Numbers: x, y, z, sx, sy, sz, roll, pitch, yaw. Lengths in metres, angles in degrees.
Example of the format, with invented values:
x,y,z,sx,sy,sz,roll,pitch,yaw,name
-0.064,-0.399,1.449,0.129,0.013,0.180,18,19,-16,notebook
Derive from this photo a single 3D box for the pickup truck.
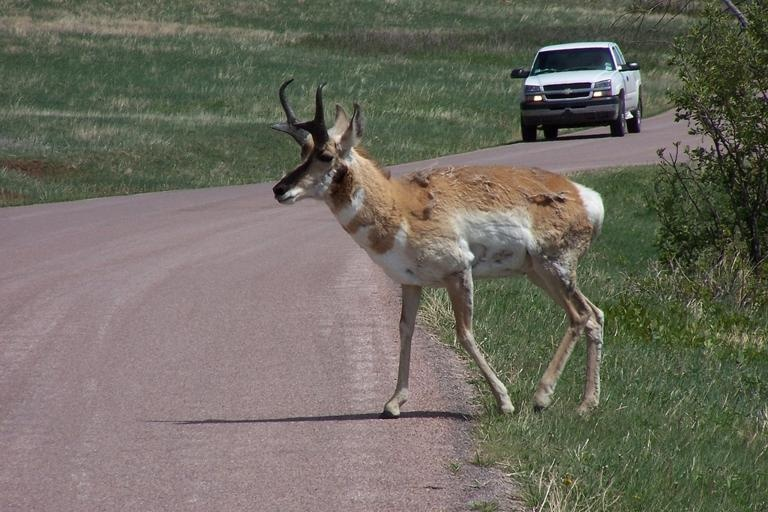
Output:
x,y,z,sx,sy,sz,roll,pitch,yaw,name
6.200,-5.163,34.834,3.457,2.940,6.610,-1,8,22,pickup truck
